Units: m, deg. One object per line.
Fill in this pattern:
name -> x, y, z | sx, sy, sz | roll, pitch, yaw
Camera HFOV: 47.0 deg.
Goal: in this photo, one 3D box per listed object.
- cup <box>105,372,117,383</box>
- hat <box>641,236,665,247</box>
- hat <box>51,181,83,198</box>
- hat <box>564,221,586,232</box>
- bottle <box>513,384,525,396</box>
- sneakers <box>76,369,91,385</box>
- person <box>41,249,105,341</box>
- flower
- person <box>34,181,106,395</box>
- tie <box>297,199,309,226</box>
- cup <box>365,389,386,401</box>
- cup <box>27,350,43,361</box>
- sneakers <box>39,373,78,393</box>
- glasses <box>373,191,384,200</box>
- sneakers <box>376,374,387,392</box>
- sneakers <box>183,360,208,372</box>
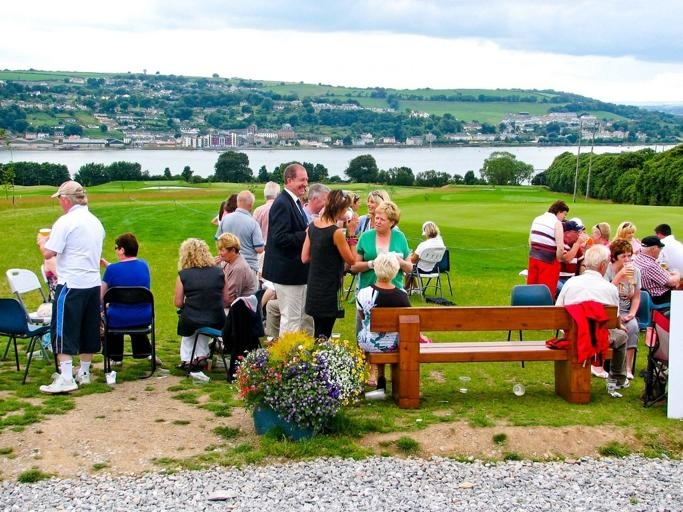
cup -> -2.809, 1.479, 9.607 | 0.125, 0.127, 0.128 | -2, -9, 0
hat -> 4.312, -0.208, 10.850 | 0.234, 0.119, 0.162 | -8, 10, -20
hat -> -3.294, -0.804, 9.425 | 0.325, 0.179, 0.243 | 3, 6, 25
hat -> 3.595, -0.467, 12.084 | 0.288, 0.106, 0.182 | -1, 9, -19
bottle -> 2.121, 1.579, 9.384 | 0.124, 0.088, 0.123 | -5, 32, 3
sneakers -> -3.127, 1.464, 9.529 | 0.106, 0.105, 0.245 | 4, 3, -23
person -> -3.878, 0.525, 10.800 | 1.144, 1.107, 0.599 | 0, 7, -5
flower -> -0.458, 1.258, 8.482 | 1.135, 0.811, 1.142 | 8, 6, 33
person -> -3.178, 0.530, 9.341 | 0.812, 2.056, 0.500 | -5, 9, -32
tie -> -0.460, -0.572, 10.017 | 0.108, 0.295, 0.213 | -25, 24, -27
cup -> 0.409, 1.618, 9.199 | 0.192, 0.112, 0.088 | -3, -20, -14
cup -> -4.018, 1.295, 10.307 | 0.248, 0.090, 0.176 | 8, 18, -34
sneakers -> -3.268, 1.488, 9.167 | 0.480, 0.230, 0.179 | 2, -3, -13
glasses -> 0.547, -0.884, 11.292 | 0.134, 0.164, 0.086 | -6, -8, 38
sneakers -> 0.482, 1.526, 9.478 | 0.068, 0.222, 0.085 | -4, -7, 29
sneakers -> -1.870, 1.418, 10.207 | 0.347, 0.146, 0.129 | 3, -6, -21
